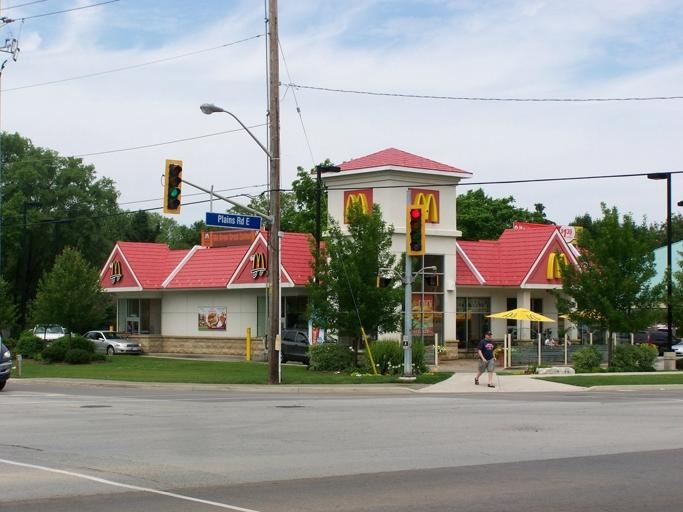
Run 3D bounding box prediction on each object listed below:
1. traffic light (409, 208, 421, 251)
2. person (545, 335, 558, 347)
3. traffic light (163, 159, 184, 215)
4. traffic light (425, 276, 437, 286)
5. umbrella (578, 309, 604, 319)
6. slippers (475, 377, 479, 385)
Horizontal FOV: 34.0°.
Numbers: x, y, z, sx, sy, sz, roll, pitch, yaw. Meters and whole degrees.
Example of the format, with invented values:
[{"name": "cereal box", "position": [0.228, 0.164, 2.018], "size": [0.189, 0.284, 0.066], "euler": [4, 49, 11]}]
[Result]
[{"name": "traffic light", "position": [2.660, -0.966, 40.038], "size": [0.409, 1.567, 0.389], "euler": [0, -8, 2]}, {"name": "person", "position": [10.482, 4.212, 55.727], "size": [0.568, 0.696, 1.421], "euler": [1, 0, 2]}, {"name": "traffic light", "position": [-5.447, -2.292, 36.429], "size": [0.647, 1.678, 0.622], "euler": [4, -6, -22]}, {"name": "traffic light", "position": [4.235, 1.123, 53.501], "size": [0.442, 0.439, 0.243], "euler": [2, 4, 22]}, {"name": "umbrella", "position": [10.424, 2.426, 46.894], "size": [0.601, 0.314, 0.619], "euler": [4, -4, 0]}, {"name": "slippers", "position": [4.928, 4.523, 40.658], "size": [0.097, 0.266, 0.081], "euler": [1, -1, -28]}]
